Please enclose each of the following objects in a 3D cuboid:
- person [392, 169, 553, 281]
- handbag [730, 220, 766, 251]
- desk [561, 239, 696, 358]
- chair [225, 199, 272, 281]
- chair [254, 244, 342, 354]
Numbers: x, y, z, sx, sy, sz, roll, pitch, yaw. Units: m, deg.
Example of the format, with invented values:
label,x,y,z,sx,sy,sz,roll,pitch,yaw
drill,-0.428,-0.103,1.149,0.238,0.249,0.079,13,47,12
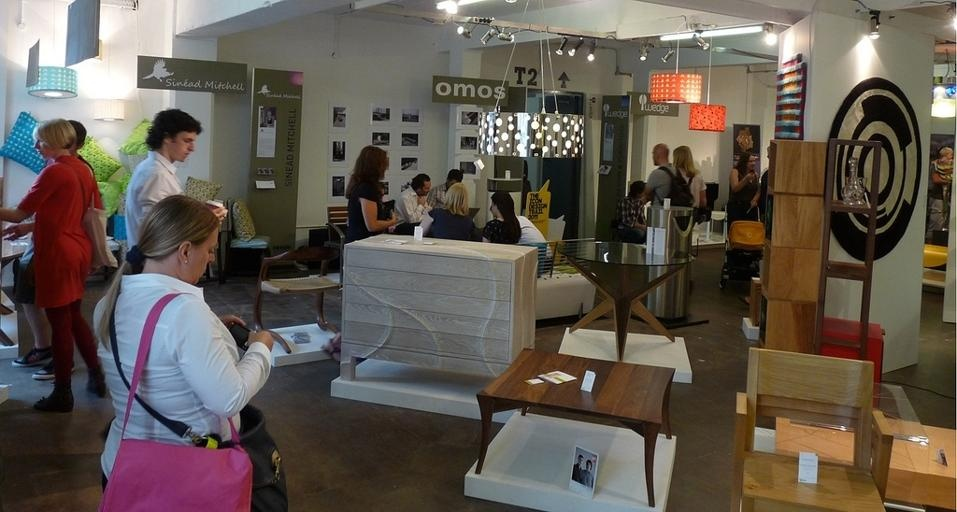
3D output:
label,x,y,z,sx,sy,sz,roll,pitch,yaw
person,-0.245,-0.517,8.860,1.088,1.032,2.057,2,12,-31
handbag,4.746,-0.380,10.799,0.542,0.448,0.285,2,9,16
desk,1.803,0.635,8.551,1.718,1.122,1.662,-8,22,-33
chair,-4.176,-0.308,11.035,0.896,1.530,1.415,-1,6,-13
chair,-2.490,0.603,8.484,1.259,1.549,1.248,-4,10,-37
